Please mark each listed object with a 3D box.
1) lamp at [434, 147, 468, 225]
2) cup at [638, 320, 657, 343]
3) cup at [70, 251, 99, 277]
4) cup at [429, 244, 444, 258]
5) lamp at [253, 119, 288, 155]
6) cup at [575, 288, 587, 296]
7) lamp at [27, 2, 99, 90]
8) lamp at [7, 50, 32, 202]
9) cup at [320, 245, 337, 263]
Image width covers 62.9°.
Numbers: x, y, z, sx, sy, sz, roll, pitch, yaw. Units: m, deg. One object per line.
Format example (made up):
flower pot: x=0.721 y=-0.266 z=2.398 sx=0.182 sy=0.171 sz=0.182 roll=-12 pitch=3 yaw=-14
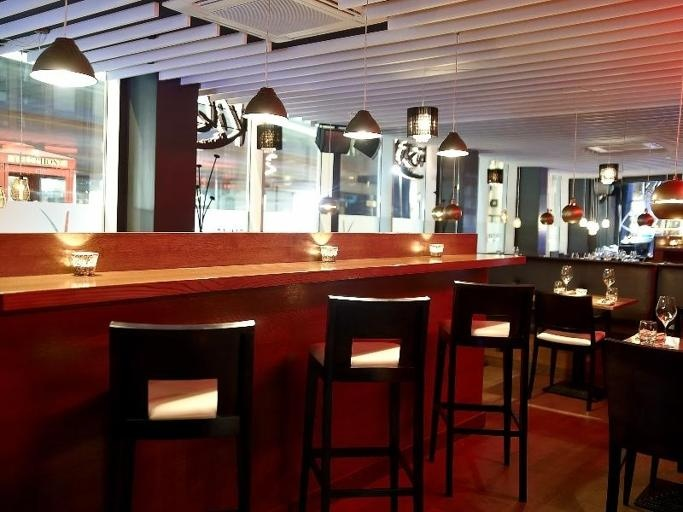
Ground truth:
lamp: x=1.700 y=-1.096 z=8.791 sx=0.367 sy=1.085 sz=0.366 roll=-2 pitch=-5 yaw=-28
cup: x=2.023 y=0.506 z=3.737 sx=0.130 sy=0.150 sz=0.135 roll=-1 pitch=-1 yaw=0
cup: x=-1.264 y=0.034 z=2.755 sx=0.123 sy=0.105 sz=0.121 roll=-1 pitch=3 yaw=0
cup: x=0.794 y=-0.045 z=4.701 sx=0.106 sy=0.084 sz=0.109 roll=-1 pitch=4 yaw=0
lamp: x=-0.821 y=-1.416 z=6.645 sx=0.365 sy=0.378 sz=0.288 roll=5 pitch=9 yaw=25
cup: x=2.536 y=0.389 z=5.948 sx=0.078 sy=0.072 sz=0.101 roll=5 pitch=-5 yaw=-42
lamp: x=-1.843 y=-1.339 z=3.712 sx=0.369 sy=0.331 sz=0.375 roll=-4 pitch=9 yaw=-38
lamp: x=-3.145 y=-1.140 z=5.540 sx=0.144 sy=1.168 sz=0.223 roll=9 pitch=8 yaw=2
cup: x=-0.088 y=-0.015 z=3.803 sx=0.101 sy=0.111 sz=0.079 roll=1 pitch=7 yaw=-9
